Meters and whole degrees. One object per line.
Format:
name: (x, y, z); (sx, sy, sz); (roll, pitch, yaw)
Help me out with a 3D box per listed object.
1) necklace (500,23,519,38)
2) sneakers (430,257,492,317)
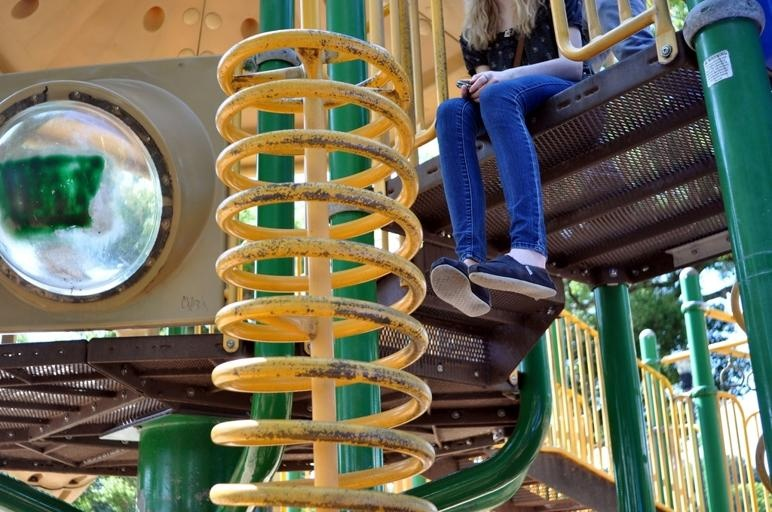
necklace: (0.746, -1.352, 6.372); (0.071, 0.045, 0.112); (6, -2, 3)
sneakers: (0.402, 0.150, 5.606); (0.205, 0.371, 0.174); (-42, 16, 31)
